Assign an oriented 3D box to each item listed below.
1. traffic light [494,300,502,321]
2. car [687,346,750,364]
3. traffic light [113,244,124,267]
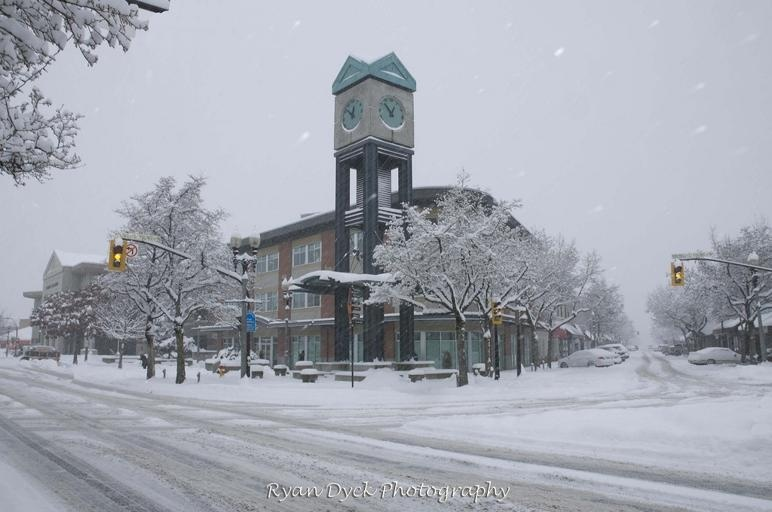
[{"bbox_3d":[5.966,3.086,34.438,0.471,1.108,0.399,1,-12,-15],"label":"traffic light"},{"bbox_3d":[27.377,8.426,52.934,3.045,1.068,1.551,-5,-10,11],"label":"car"},{"bbox_3d":[-11.288,0.090,26.967,0.217,1.061,0.504,-9,-14,31],"label":"traffic light"}]
